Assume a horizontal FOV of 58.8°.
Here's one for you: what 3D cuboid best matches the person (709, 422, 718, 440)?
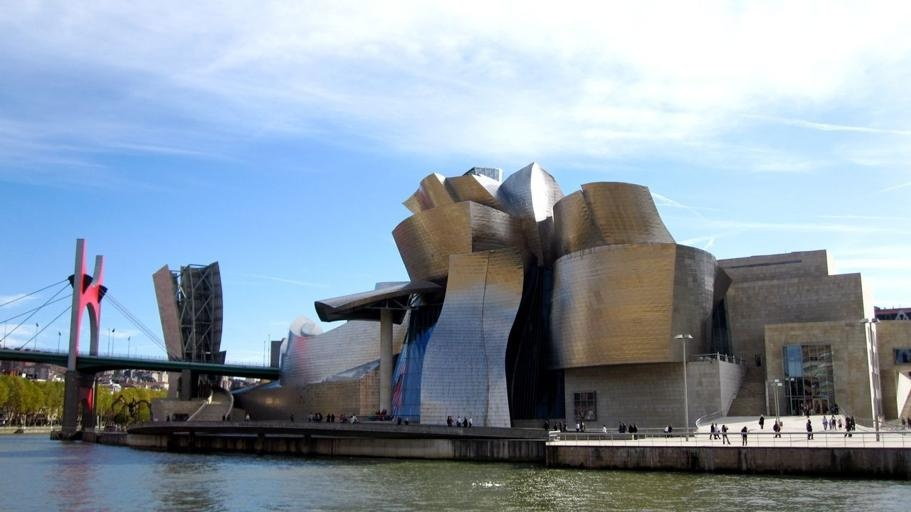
[{"bbox_3d":[16.594,11.288,51.950,0.517,1.025,1.830,-5,-11,16],"label":"person"}]
